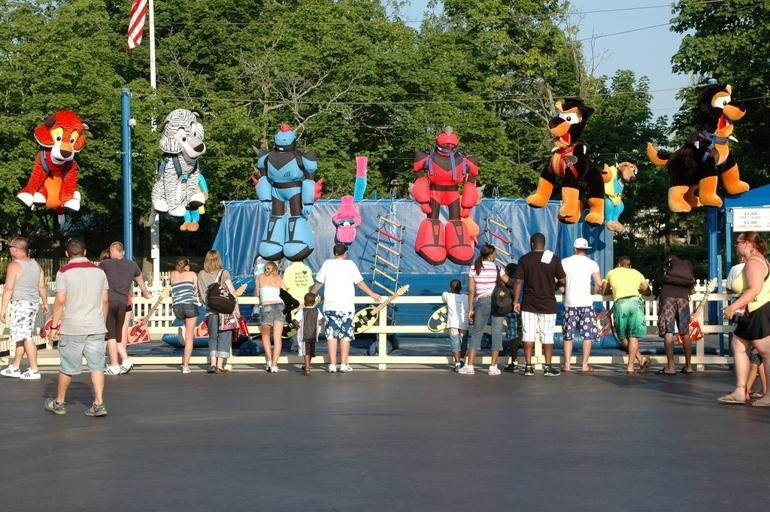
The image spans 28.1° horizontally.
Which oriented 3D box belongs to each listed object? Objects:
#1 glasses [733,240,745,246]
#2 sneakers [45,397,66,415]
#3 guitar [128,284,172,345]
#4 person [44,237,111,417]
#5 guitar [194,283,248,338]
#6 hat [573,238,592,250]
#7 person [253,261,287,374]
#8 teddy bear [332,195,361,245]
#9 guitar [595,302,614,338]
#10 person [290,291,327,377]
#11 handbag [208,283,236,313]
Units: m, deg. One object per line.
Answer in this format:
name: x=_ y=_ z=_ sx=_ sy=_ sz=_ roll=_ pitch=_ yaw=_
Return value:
glasses: x=8.540 y=-0.288 z=36.868 sx=0.149 sy=0.130 sz=0.135 roll=1 pitch=-5 yaw=0
sneakers: x=-7.850 y=3.573 z=36.667 sx=0.547 sy=0.239 sz=0.254 roll=21 pitch=22 yaw=36
guitar: x=-6.636 y=1.725 z=43.648 sx=1.001 sy=1.948 sz=0.218 roll=42 pitch=3 yaw=-29
person: x=-7.202 y=1.703 z=36.513 sx=1.269 sy=4.163 sz=0.653 roll=1 pitch=-7 yaw=-6
guitar: x=-4.392 y=1.543 z=41.198 sx=1.238 sy=1.571 sz=1.565 roll=3 pitch=1 yaw=13
hat: x=5.157 y=-0.238 z=40.208 sx=0.411 sy=0.294 sz=0.552 roll=-1 pitch=7 yaw=-2
person: x=-2.954 y=1.607 z=39.990 sx=0.762 sy=2.828 sz=0.720 roll=1 pitch=-7 yaw=-5
teddy bear: x=-1.083 y=-1.000 z=44.212 sx=0.781 sy=1.464 sz=0.617 roll=3 pitch=-17 yaw=-1
guitar: x=5.905 y=1.862 z=40.923 sx=0.617 sy=0.960 sz=0.330 roll=6 pitch=15 yaw=35
person: x=-2.001 y=2.037 z=40.080 sx=0.685 sy=2.126 sz=1.404 roll=1 pitch=-6 yaw=-4
handbag: x=-4.200 y=1.128 z=39.698 sx=0.656 sy=0.801 sz=0.363 roll=6 pitch=-40 yaw=-32
